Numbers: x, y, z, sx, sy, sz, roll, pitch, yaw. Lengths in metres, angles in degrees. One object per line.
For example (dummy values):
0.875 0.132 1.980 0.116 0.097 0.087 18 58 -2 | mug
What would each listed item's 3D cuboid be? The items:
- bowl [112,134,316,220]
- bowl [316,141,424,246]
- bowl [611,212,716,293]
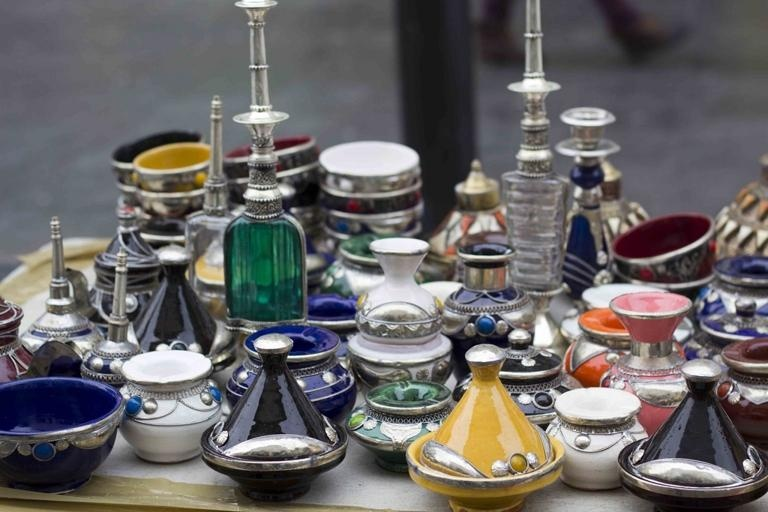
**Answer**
-0.523 -0.300 4.752 0.409 0.154 0.436 -3 15 1 | bowl
-0.054 -0.242 4.889 0.385 0.239 0.353 -1 23 1 | bowl
0.872 -0.027 4.533 0.285 0.196 0.281 -20 13 5 | bowl
